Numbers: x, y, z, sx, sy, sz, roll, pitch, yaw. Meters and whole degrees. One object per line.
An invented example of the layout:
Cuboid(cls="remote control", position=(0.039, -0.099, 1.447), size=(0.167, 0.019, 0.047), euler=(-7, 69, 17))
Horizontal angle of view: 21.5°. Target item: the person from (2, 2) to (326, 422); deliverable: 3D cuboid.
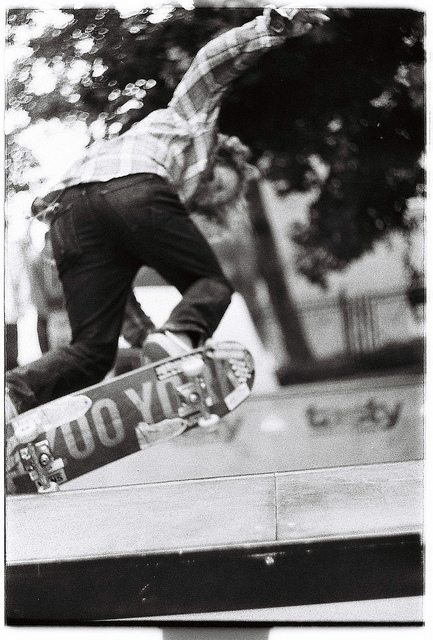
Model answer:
Cuboid(cls="person", position=(-0.275, -0.485, 4.900), size=(1.667, 1.401, 0.551), euler=(-14, 21, -4))

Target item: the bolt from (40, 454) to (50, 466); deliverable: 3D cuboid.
Cuboid(cls="bolt", position=(-0.719, 0.589, 4.822), size=(0.035, 0.046, 0.016), euler=(4, 6, 1))

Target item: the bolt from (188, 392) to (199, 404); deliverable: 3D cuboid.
Cuboid(cls="bolt", position=(-0.096, 0.329, 4.846), size=(0.045, 0.044, 0.011), euler=(-35, 1, -12))
